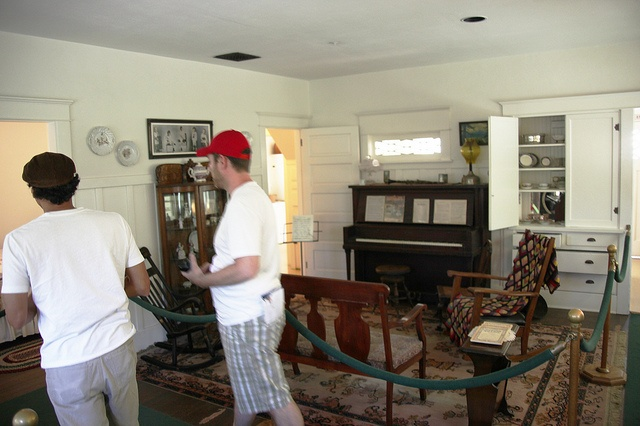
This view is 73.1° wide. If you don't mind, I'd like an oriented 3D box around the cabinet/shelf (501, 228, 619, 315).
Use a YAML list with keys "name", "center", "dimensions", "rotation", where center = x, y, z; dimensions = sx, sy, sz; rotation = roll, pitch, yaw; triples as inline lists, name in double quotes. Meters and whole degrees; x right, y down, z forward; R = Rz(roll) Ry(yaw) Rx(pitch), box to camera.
- name: "cabinet/shelf"
  center: [3.175, 0.759, 5.542]
  dimensions: [1.257, 1.027, 0.453]
  rotation: [0, 0, 23]

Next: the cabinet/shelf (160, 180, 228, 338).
- name: "cabinet/shelf"
  center: [-1.715, 0.428, 5.986]
  dimensions: [0.834, 1.861, 0.517]
  rotation: [-13, 27, -31]

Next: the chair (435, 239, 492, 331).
- name: "chair"
  center: [1.984, 1.001, 6.052]
  dimensions: [0.788, 1.312, 0.812]
  rotation: [6, -3, 28]

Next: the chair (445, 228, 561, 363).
- name: "chair"
  center: [2.131, 0.951, 5.144]
  dimensions: [1.112, 1.364, 0.966]
  rotation: [-1, 5, 6]

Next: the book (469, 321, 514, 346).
- name: "book"
  center: [1.471, 1.009, 3.662]
  dimensions: [0.346, 0.082, 0.396]
  rotation: [1, 7, 23]

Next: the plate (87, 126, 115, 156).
- name: "plate"
  center: [-2.658, -0.871, 5.225]
  dimensions: [0.062, 0.308, 0.315]
  rotation: [5, 8, 44]

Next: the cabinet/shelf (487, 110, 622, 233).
- name: "cabinet/shelf"
  center: [3.460, -0.630, 6.257]
  dimensions: [1.874, 1.781, 0.965]
  rotation: [0, -2, 28]

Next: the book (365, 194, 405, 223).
- name: "book"
  center: [1.059, -0.071, 6.961]
  dimensions: [0.657, 0.447, 0.024]
  rotation: [2, -6, 26]

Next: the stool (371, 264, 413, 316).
- name: "stool"
  center: [1.150, 1.159, 6.561]
  dimensions: [0.469, 0.577, 0.481]
  rotation: [-6, -4, 30]

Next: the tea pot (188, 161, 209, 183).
- name: "tea pot"
  center: [-1.614, -0.528, 5.690]
  dimensions: [0.304, 0.254, 0.210]
  rotation: [-4, 9, -23]

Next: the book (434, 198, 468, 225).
- name: "book"
  center: [2.011, -0.011, 6.520]
  dimensions: [0.414, 0.337, 0.057]
  rotation: [-1, -15, 19]

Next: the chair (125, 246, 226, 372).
- name: "chair"
  center: [-1.661, 1.103, 5.168]
  dimensions: [1.094, 1.419, 0.759]
  rotation: [-7, 2, 4]

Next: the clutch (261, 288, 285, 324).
- name: "clutch"
  center: [-0.318, 0.639, 2.980]
  dimensions: [0.052, 0.196, 0.214]
  rotation: [0, -7, 24]

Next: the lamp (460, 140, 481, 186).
- name: "lamp"
  center: [2.316, -0.786, 6.593]
  dimensions: [0.265, 0.678, 0.485]
  rotation: [0, 7, 19]
